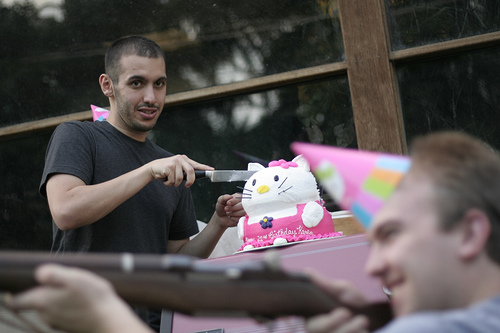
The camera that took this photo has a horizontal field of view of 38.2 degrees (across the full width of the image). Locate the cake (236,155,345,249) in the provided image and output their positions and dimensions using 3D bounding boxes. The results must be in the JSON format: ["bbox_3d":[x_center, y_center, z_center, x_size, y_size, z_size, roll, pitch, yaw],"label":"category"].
[{"bbox_3d":[0.194,0.244,3.420,0.451,0.464,0.414,-12,-22,15],"label":"cake"}]

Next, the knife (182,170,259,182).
[{"bbox_3d":[-0.136,0.047,3.548,0.357,0.066,0.047,-2,6,-4],"label":"knife"}]

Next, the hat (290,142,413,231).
[{"bbox_3d":[0.346,0.066,2.434,0.409,0.285,0.102,2,-12,-7],"label":"hat"}]
